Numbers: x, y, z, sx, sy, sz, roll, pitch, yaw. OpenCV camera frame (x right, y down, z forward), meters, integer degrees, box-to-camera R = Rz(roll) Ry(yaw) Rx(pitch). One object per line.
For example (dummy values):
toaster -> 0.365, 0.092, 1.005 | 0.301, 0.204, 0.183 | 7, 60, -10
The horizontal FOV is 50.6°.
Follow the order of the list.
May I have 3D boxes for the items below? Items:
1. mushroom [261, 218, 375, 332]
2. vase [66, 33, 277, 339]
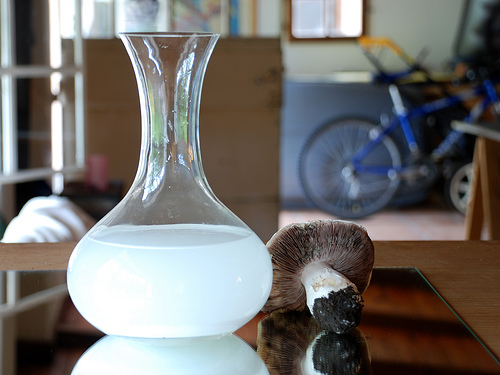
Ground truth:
mushroom -> 0.078, 0.102, 0.585 | 0.152, 0.069, 0.161 | -3, -25, 17
vase -> -0.076, 0.000, 0.511 | 0.178, 0.293, 0.184 | 3, 4, 43
